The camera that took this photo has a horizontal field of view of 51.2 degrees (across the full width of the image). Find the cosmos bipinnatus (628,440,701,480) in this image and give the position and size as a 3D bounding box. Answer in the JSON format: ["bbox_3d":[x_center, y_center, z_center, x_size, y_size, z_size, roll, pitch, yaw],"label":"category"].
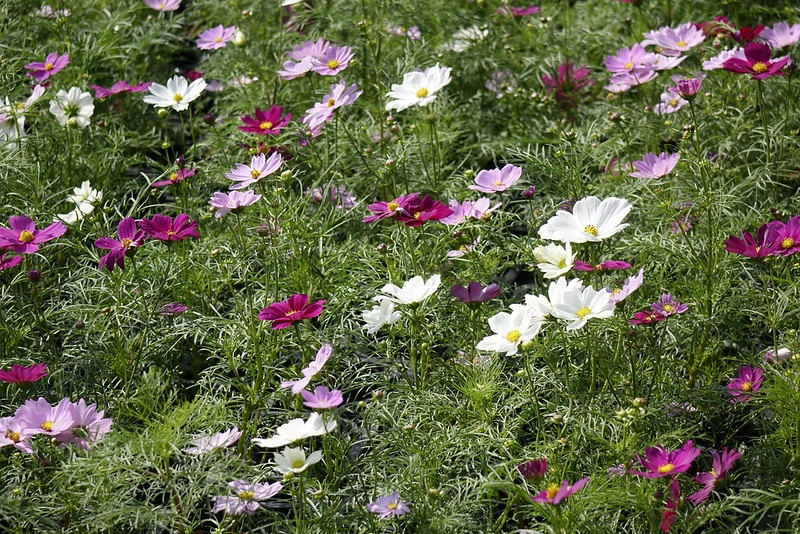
[{"bbox_3d":[0.650,0.459,2.081,0.121,0.055,0.122,-30,19,-18],"label":"cosmos bipinnatus"}]

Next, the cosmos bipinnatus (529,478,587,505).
[{"bbox_3d":[0.382,0.517,1.942,0.091,0.090,0.033,-21,86,-41],"label":"cosmos bipinnatus"}]
